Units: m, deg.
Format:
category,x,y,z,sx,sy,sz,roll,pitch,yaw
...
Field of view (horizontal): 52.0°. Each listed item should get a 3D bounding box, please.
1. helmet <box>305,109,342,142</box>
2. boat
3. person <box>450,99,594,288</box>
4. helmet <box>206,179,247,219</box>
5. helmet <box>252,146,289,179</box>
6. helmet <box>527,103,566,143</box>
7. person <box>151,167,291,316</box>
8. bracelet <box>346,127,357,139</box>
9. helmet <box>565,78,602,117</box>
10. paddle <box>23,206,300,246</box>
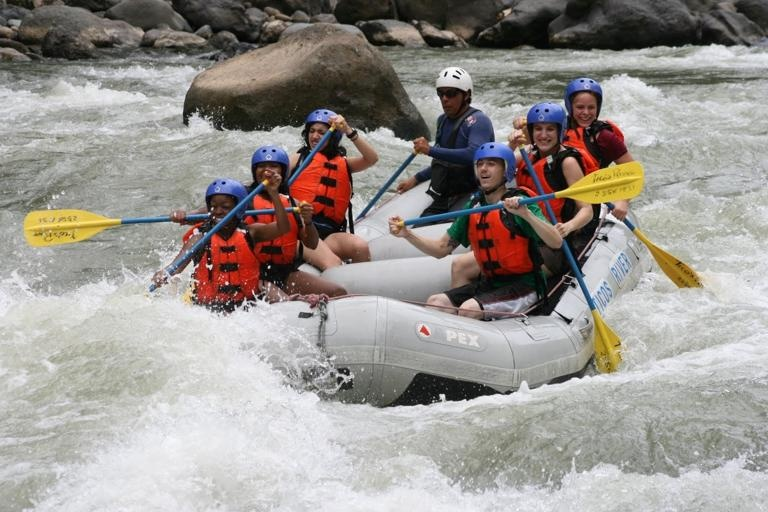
category,x,y,z,sx,sy,sz,roll,pitch,yaw
helmet,-0.664,-1.366,8.199,0.380,0.332,0.242,25,44,33
boat,0.657,0.604,7.145,2.858,0.901,1.926,-23,39,-32
person,1.299,-0.717,7.576,2.094,1.455,0.861,-14,22,-38
helmet,-1.426,-0.541,7.174,0.256,0.343,0.259,-5,78,13
helmet,-1.094,-0.916,7.573,0.266,0.329,0.298,1,80,-2
helmet,1.584,-1.321,7.765,0.331,0.387,0.425,-1,1,16
person,-1.484,0.185,7.164,1.265,1.914,0.531,-5,20,-17
bracelet,-0.334,-1.291,8.221,0.091,0.106,0.043,-5,71,-4
helmet,2.167,-1.757,8.336,0.372,0.462,0.422,0,81,3
paddle,-2.241,-0.368,8.206,2.916,0.403,0.128,-4,44,-42
